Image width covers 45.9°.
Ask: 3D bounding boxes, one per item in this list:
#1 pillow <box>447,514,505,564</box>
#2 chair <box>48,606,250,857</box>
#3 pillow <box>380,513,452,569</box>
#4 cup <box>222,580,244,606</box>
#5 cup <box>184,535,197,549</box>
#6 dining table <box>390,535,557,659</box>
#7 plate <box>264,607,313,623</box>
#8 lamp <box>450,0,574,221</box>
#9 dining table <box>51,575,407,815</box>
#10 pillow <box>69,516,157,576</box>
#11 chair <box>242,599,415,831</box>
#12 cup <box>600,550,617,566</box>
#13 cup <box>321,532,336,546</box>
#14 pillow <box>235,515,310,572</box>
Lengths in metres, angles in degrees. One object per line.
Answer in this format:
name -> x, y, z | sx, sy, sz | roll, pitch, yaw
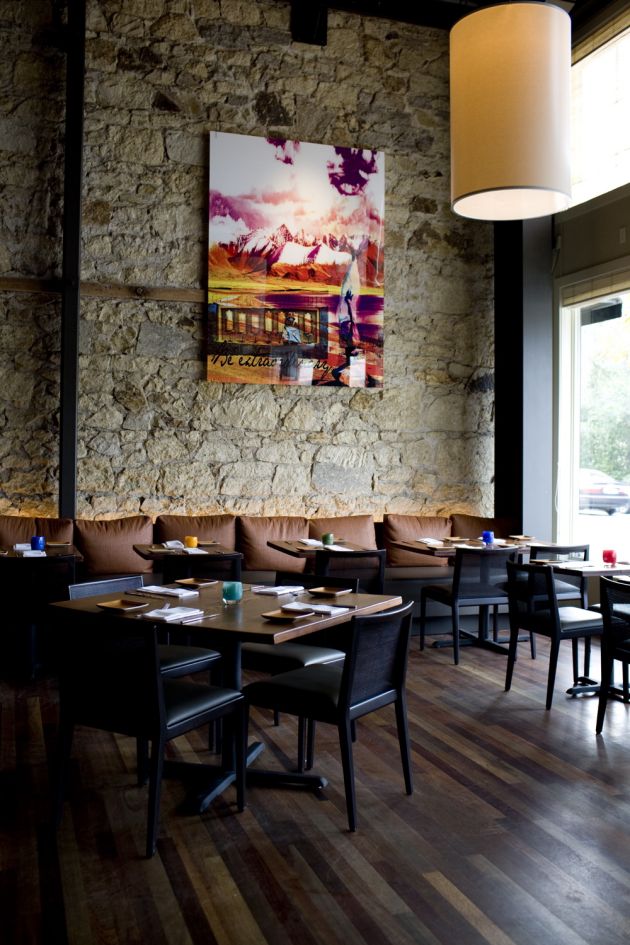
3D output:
pillow -> 1.209, 0.505, 5.584 | 0.526, 0.303, 0.363 | -2, -9, 14
chair -> -0.517, 0.764, 2.428 | 0.425, 0.659, 0.465 | 3, 0, 34
pillow -> 0.798, 0.562, 5.962 | 0.391, 0.304, 0.148 | -3, 8, -13
cup -> -0.300, 0.462, 2.857 | 0.084, 0.086, 0.084 | -1, -2, 0
cup -> -0.829, 0.470, 5.024 | 0.081, 0.082, 0.102 | 4, -8, -34
dining table -> 1.023, 0.859, 5.195 | 0.771, 1.046, 0.814 | 1, 2, -26
plate -> -0.098, 0.492, 2.552 | 0.151, 0.024, 0.247 | 0, -2, 14
lamp -> 0.705, -1.289, 2.701 | 0.420, 0.673, 0.363 | 0, -3, 18
dining table -> -0.348, 0.716, 2.674 | 0.973, 0.704, 0.920 | -2, 4, -31
pillow -> -1.465, 0.547, 5.365 | 0.386, 0.306, 0.147 | -6, 3, -26
chair -> 0.061, 0.819, 2.668 | 0.553, 0.699, 0.594 | 3, -1, -30
cup -> 1.708, 0.494, 4.296 | 0.085, 0.089, 0.085 | 3, -5, 0
cup -> 0.102, 0.465, 5.183 | 0.074, 0.076, 0.098 | -1, -6, -2
pillow -> -0.342, 0.558, 5.732 | 0.404, 0.329, 0.157 | 2, -11, -11
